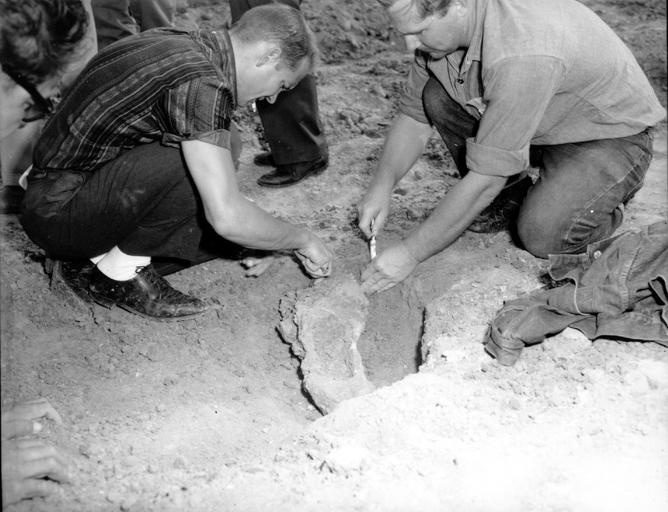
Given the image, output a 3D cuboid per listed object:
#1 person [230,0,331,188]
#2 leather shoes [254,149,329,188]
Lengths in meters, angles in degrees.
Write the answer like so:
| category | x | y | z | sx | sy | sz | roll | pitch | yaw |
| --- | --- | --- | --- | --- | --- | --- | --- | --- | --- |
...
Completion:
| category | x | y | z | sx | sy | sz | roll | pitch | yaw |
| --- | --- | --- | --- | --- | --- | --- | --- | --- | --- |
| person | -0.252 | -0.658 | 2.876 | 0.370 | 1.145 | 0.319 | -19 | 74 | -8 |
| leather shoes | -0.219 | -0.431 | 3.412 | 0.276 | 0.105 | 0.218 | -10 | 49 | -8 |
